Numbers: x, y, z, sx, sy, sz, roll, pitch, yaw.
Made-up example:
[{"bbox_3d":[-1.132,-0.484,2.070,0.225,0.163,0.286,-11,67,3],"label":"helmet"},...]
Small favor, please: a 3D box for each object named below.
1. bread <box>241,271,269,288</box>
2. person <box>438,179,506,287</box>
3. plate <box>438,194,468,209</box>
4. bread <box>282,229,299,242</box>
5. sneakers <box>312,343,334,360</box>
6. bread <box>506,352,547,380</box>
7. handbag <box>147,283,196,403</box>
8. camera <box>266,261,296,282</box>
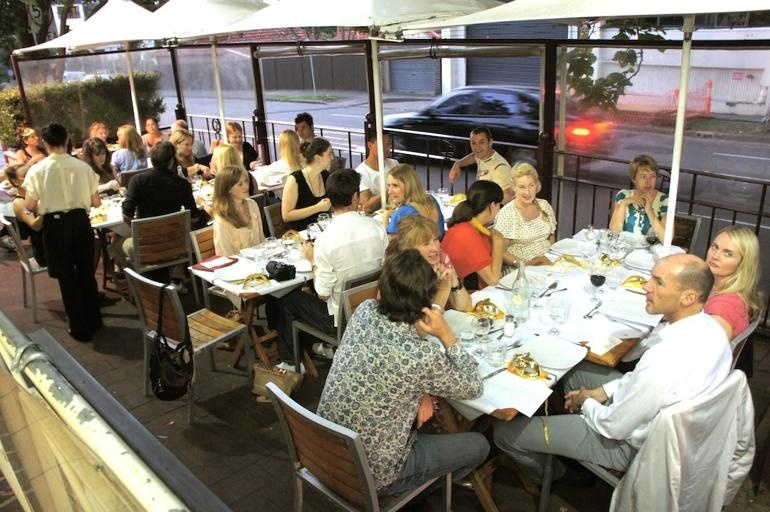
[{"bbox_3d":[-1.177,0.218,4.391,0.256,0.067,0.179,-11,19,-26],"label":"bread"},{"bbox_3d":[0.806,-0.183,4.375,0.603,1.205,0.566,-15,48,-7],"label":"person"},{"bbox_3d":[0.901,-0.738,6.297,0.352,0.137,0.396,13,22,40],"label":"plate"},{"bbox_3d":[-1.042,-0.225,5.323,0.168,0.135,0.119,-4,14,-9],"label":"bread"},{"bbox_3d":[-0.648,0.999,5.039,0.248,0.091,0.135,15,5,-12],"label":"sneakers"},{"bbox_3d":[0.910,0.717,3.104,0.154,0.056,0.194,-23,29,-28],"label":"bread"},{"bbox_3d":[-1.773,0.729,3.955,0.340,0.945,0.475,-10,21,-20],"label":"handbag"},{"bbox_3d":[-0.967,0.137,4.438,0.202,0.119,0.205,22,26,39],"label":"camera"}]
